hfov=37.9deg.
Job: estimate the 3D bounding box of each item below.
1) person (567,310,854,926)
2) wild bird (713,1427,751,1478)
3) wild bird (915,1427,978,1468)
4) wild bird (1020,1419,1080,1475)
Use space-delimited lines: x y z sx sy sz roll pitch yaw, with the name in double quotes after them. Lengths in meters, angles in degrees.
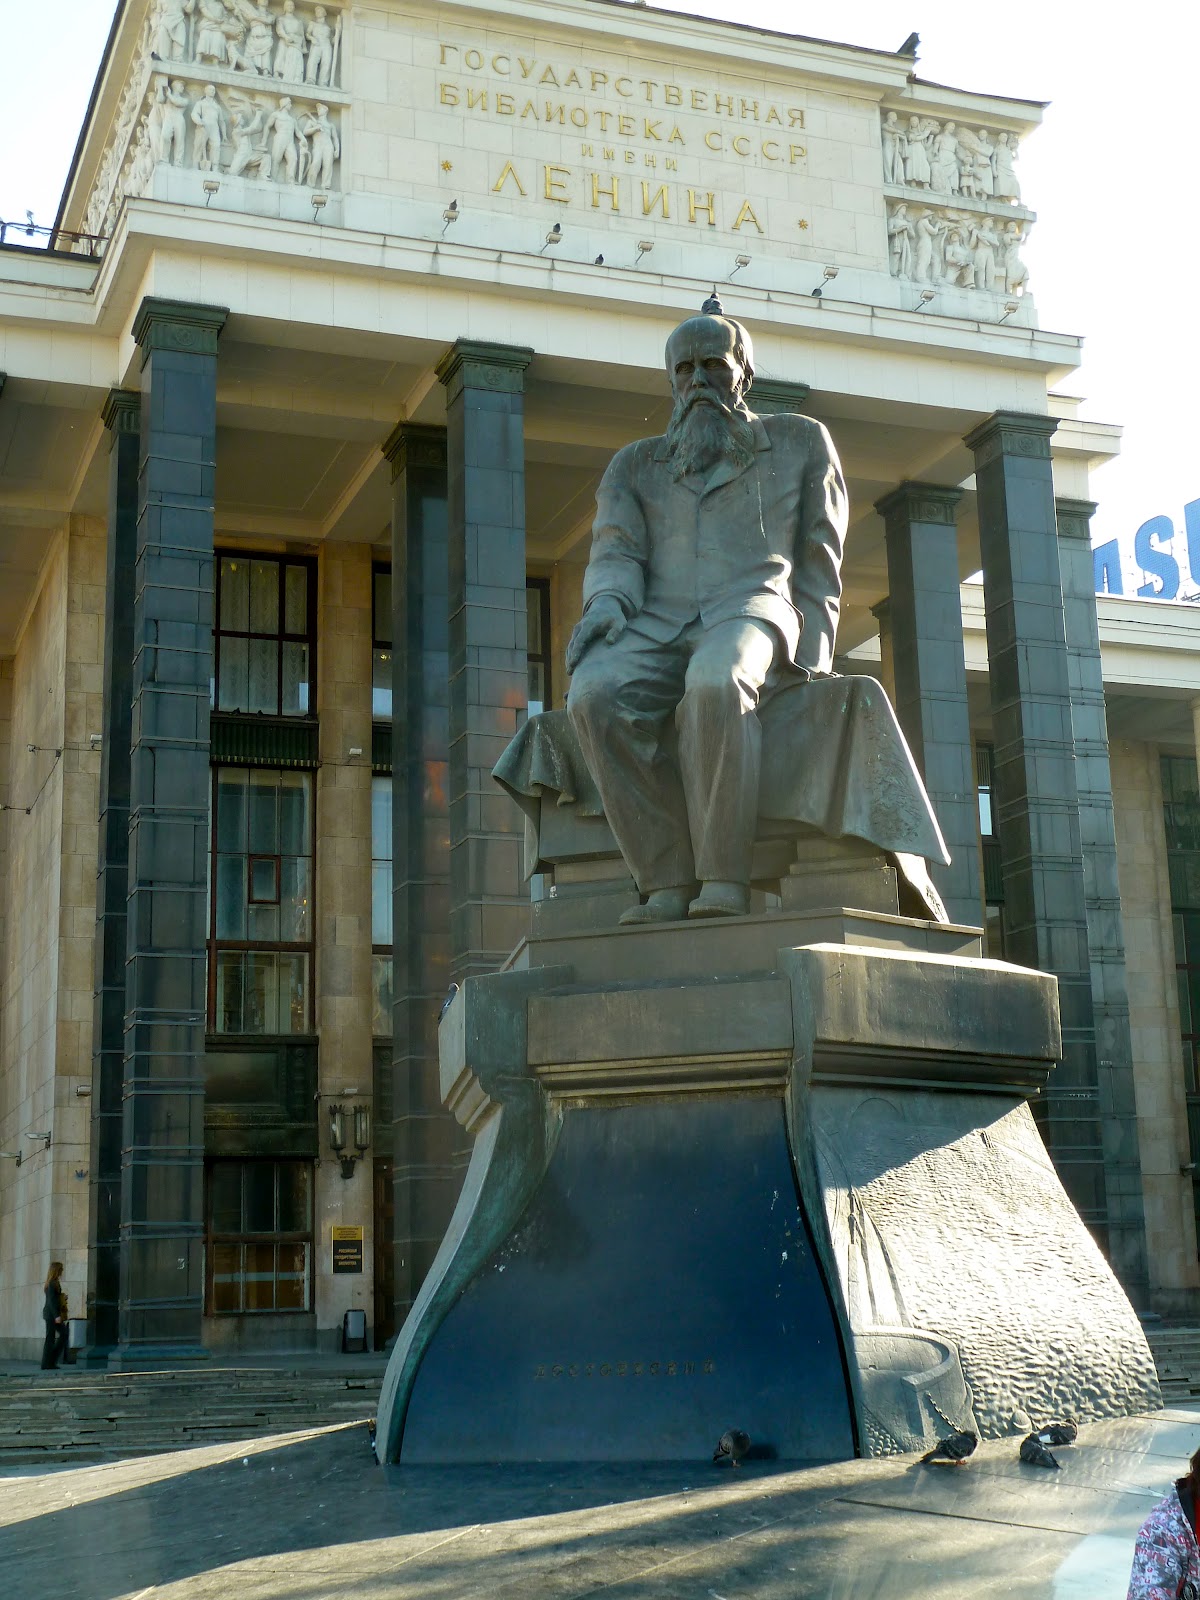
0.321 -0.756 6.346 0.888 2.411 1.104 -8 -8 24 "person"
0.336 1.678 4.489 0.093 0.046 0.141 -2 2 -1 "wild bird"
0.831 1.553 4.197 0.080 0.058 0.185 35 -43 -29 "wild bird"
1.093 1.577 4.258 0.118 0.099 0.205 -10 -24 16 "wild bird"
